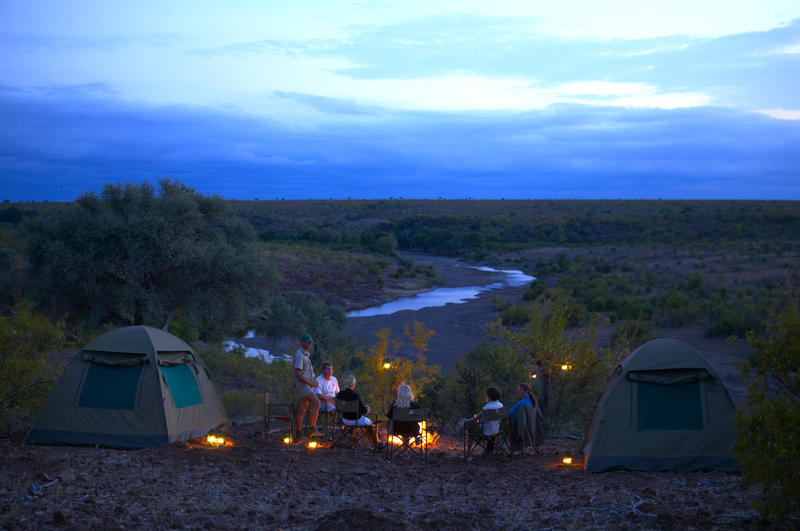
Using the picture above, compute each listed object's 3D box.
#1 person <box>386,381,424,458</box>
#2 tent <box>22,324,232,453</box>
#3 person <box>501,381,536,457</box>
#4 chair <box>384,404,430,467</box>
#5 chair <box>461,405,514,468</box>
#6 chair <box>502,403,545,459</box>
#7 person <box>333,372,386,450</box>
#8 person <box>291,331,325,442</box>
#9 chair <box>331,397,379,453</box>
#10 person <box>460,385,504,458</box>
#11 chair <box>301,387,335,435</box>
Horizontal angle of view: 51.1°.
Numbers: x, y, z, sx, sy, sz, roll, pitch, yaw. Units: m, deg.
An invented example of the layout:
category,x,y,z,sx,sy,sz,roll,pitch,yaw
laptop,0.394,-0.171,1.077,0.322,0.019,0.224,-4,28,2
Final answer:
category,x,y,z,sx,sy,sz,roll,pitch,yaw
person,0.114,3.576,19.564,0.809,1.795,0.795,0,10,1
tent,-5.970,3.092,19.968,2.884,2.187,3.037,0,0,13
person,2.791,3.570,19.393,0.727,1.676,0.350,1,10,8
chair,0.217,3.774,19.113,0.968,1.197,0.985,10,-14,-38
chair,2.042,3.940,19.658,1.028,1.397,1.100,-2,3,44
chair,2.779,3.739,19.630,0.666,1.106,0.997,-1,3,16
person,-0.986,3.420,19.908,1.023,1.859,0.907,-1,10,-3
person,-2.210,2.879,19.923,0.601,2.463,0.755,-1,10,-6
chair,-1.208,3.702,19.498,0.506,0.943,0.592,-8,17,-3
person,1.911,3.617,19.559,0.926,1.699,0.855,1,10,4
chair,-2.063,3.454,20.106,0.871,1.242,0.933,3,7,14
